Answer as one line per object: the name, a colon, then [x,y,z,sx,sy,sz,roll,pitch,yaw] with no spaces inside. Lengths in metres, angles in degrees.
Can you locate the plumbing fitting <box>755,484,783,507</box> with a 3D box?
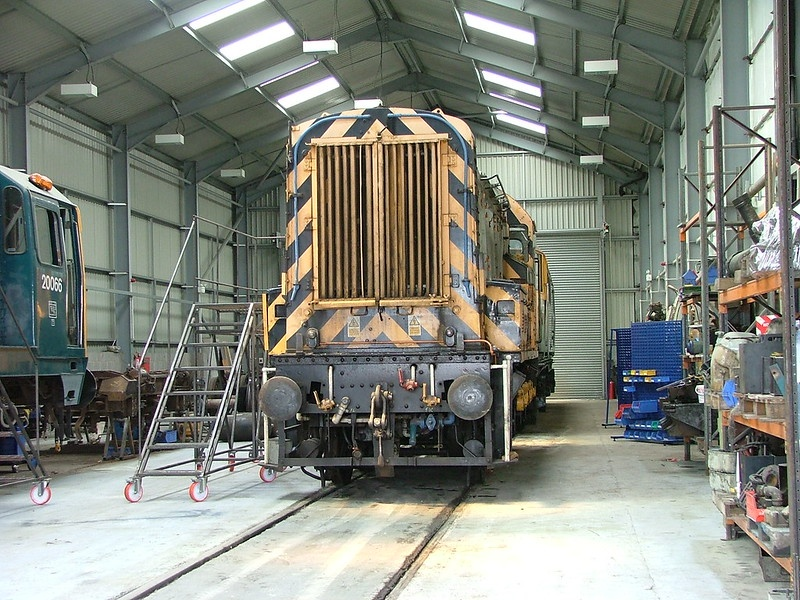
plumbing fitting: [3.073,1.647,6.215,0.150,0.154,0.322,2,-10,-20]

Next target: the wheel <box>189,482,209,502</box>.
wheel: [-2.453,2.339,8.975,0.260,0.289,0.121,3,-4,-32]

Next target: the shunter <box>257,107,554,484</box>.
shunter: [0.881,0.455,12.683,2.829,4.503,8.868,-2,-5,13]
